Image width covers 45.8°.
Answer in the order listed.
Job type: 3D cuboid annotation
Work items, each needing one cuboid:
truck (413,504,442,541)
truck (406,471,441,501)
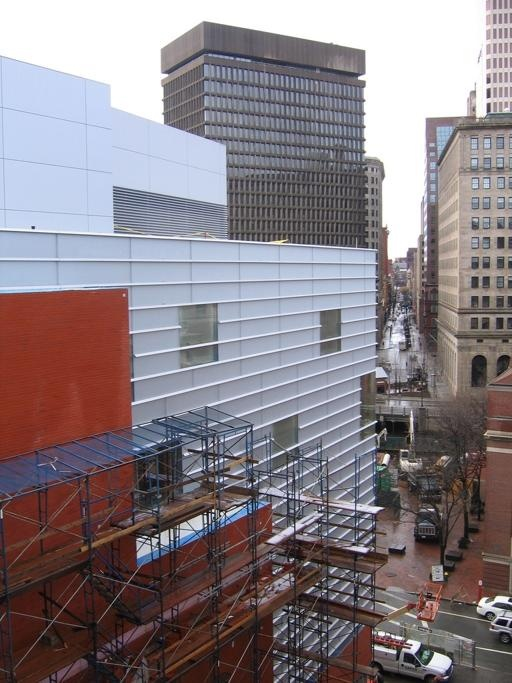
[{"bbox_3d":[13.008,13.881,45.210,2.082,1.984,3.995,-2,-4,9],"label":"truck"},{"bbox_3d":[14.487,12.235,51.425,1.982,2.093,3.556,-2,1,-8],"label":"truck"}]
